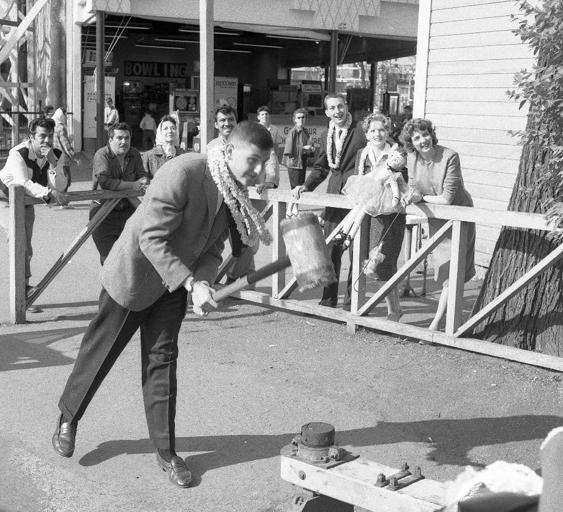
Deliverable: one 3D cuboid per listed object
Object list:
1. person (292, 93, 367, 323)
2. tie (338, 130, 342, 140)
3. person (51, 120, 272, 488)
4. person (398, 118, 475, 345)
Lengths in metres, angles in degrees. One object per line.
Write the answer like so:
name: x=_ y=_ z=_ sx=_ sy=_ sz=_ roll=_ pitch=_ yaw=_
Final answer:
person: x=0.490 y=-0.415 z=6.929 sx=0.658 sy=2.270 sz=0.678 roll=13 pitch=20 yaw=19
tie: x=0.614 y=-1.230 z=6.907 sx=0.040 sy=0.092 sz=0.093 roll=1 pitch=12 yaw=1
person: x=-0.705 y=0.217 z=3.645 sx=1.215 sy=1.916 sz=0.628 roll=7 pitch=5 yaw=23
person: x=1.386 y=-0.323 z=6.047 sx=0.710 sy=1.816 sz=0.502 roll=-9 pitch=11 yaw=-14
